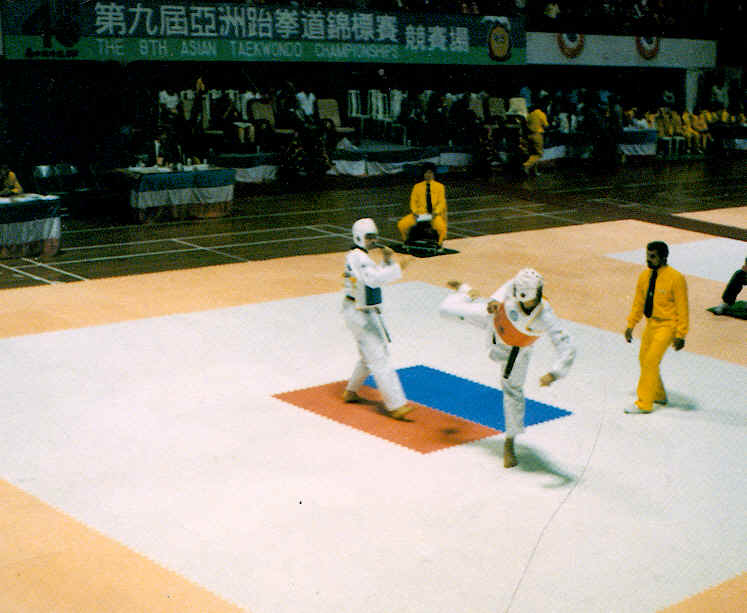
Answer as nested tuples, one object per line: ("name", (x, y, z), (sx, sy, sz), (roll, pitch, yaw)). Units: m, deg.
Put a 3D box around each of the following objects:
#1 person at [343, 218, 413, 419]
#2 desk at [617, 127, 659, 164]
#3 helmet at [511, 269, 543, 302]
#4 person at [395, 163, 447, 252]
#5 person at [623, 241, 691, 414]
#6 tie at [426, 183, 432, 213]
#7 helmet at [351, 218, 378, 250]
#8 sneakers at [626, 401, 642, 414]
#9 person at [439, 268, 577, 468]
("person", (-0.007, 0.214, 6.518), (0.465, 1.679, 0.898), (-11, 17, -27))
("desk", (10.179, -6.245, 26.165), (1.809, 1.032, 0.923), (-12, 24, -28))
("helmet", (1.158, -0.150, 5.104), (0.225, 0.267, 0.229), (2, 15, 15))
("person", (0.952, -1.854, 12.728), (1.089, 1.401, 0.972), (-12, 32, -13))
("person", (2.863, 0.133, 6.835), (0.563, 1.638, 1.195), (3, 16, 20))
("tie", (1.058, -2.026, 12.612), (0.124, 0.518, 0.086), (-3, 16, -2))
("helmet", (-0.080, -0.728, 6.689), (0.332, 0.300, 0.272), (14, 21, 37))
("sneakers", (2.529, 0.994, 6.588), (0.150, 0.085, 0.130), (-7, 14, -19))
("person", (1.073, 0.483, 5.433), (1.002, 1.642, 0.492), (11, 20, 40))
